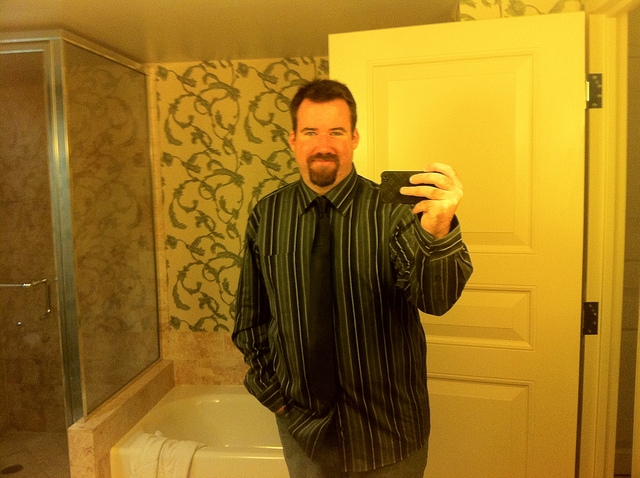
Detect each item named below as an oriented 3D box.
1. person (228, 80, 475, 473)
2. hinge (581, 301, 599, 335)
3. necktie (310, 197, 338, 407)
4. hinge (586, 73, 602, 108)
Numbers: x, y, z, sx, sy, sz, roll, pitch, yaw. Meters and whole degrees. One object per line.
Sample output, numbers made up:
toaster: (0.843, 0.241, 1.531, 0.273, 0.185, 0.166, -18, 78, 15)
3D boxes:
person: (0.078, 0.144, 1.907, 0.869, 1.402, 0.318, 5, 5, 37)
hinge: (1.137, 0.330, 2.239, 0.069, 0.141, 0.017, 1, 4, -12)
necktie: (0.005, 0.207, 1.871, 0.088, 0.700, 0.160, 1, 4, -6)
hinge: (1.123, -0.608, 2.182, 0.074, 0.141, 0.020, 0, 4, -17)
